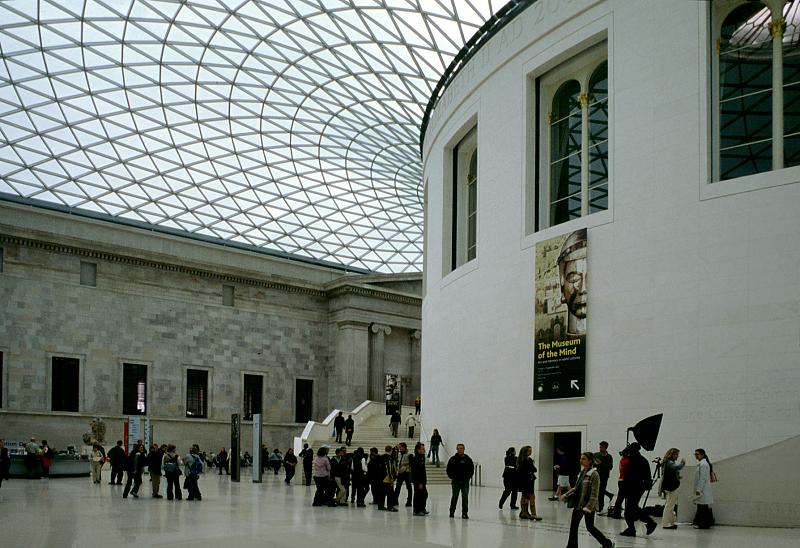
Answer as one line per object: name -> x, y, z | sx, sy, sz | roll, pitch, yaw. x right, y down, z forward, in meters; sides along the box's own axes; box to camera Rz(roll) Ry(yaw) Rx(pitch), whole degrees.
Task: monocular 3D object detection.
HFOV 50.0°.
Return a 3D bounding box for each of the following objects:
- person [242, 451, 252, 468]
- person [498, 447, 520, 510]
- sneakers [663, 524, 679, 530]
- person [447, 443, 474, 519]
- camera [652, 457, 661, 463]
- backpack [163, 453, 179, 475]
person -> -9.859, 11.934, 55.217 | 0.625, 0.741, 0.705 | 4, -2, -12
person -> 3.811, 6.826, 29.124 | 0.870, 2.291, 0.750 | 1, 13, 2
sneakers -> 8.458, 7.909, 26.874 | 0.427, 0.208, 0.156 | 0, -7, -2
person -> 1.930, 6.758, 28.050 | 0.764, 2.349, 1.208 | -1, -13, 4
camera -> 9.081, 6.609, 30.481 | 0.262, 0.138, 0.280 | 8, -14, 22
backpack -> -8.559, 7.090, 32.107 | 0.553, 0.787, 0.475 | 4, -14, -16
